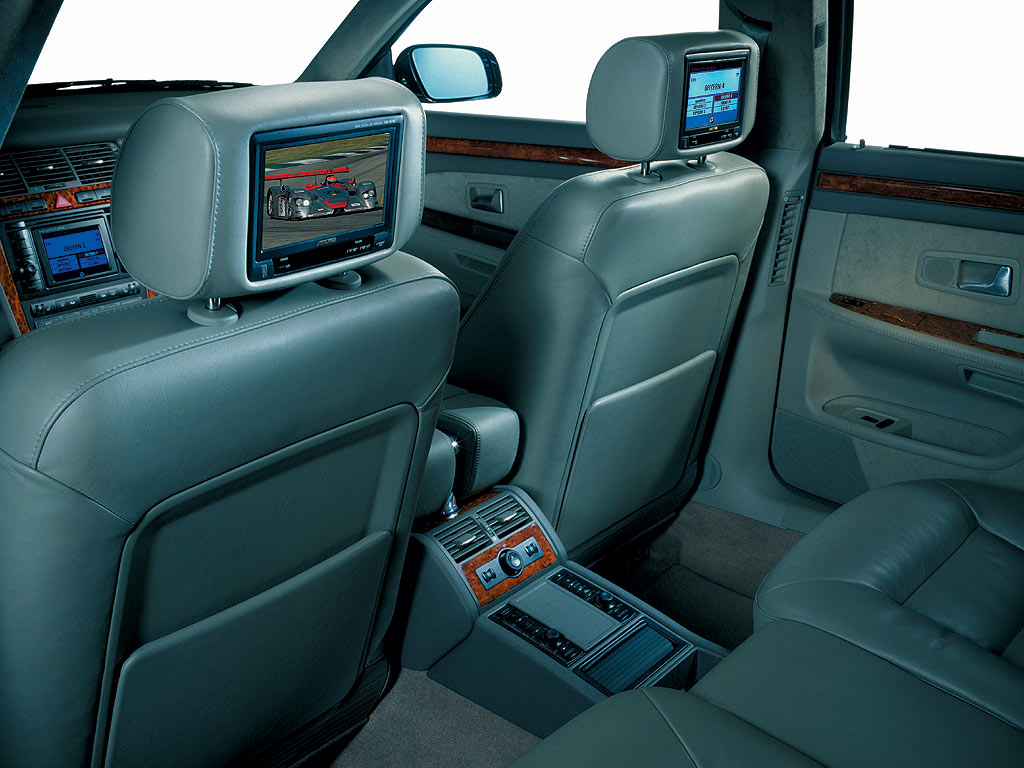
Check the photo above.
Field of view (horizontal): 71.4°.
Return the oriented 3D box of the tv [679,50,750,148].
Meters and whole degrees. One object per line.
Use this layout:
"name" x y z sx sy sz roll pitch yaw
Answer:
"tv" 0.475 -0.678 1.710 0.030 0.225 0.341 20 33 36
